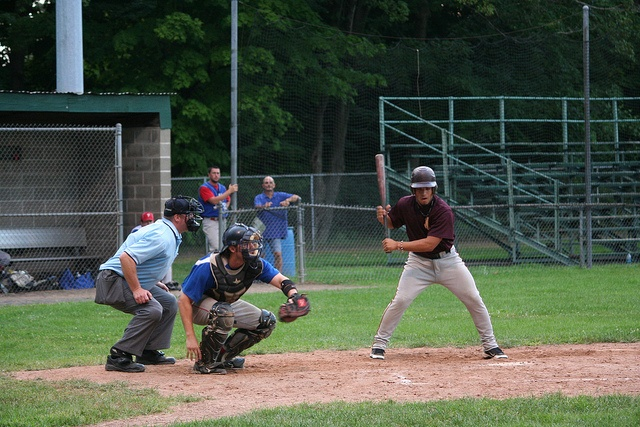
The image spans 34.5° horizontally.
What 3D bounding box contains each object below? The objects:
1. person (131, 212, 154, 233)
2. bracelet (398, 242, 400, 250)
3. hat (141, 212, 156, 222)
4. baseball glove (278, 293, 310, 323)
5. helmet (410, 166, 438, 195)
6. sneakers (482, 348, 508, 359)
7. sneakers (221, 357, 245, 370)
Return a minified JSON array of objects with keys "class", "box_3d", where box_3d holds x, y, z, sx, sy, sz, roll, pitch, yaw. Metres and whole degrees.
[{"class":"person","box_3d":[-4.094,0.189,23.487,0.491,0.396,0.761,3,1,-4]},{"class":"bracelet","box_3d":[1.583,0.660,20.928,0.060,0.148,0.119,-3,-5,-4]},{"class":"hat","box_3d":[-4.013,0.061,23.726,0.230,0.186,0.337,1,-6,-19]},{"class":"baseball glove","box_3d":[-0.547,1.847,20.153,0.689,0.462,0.378,-16,-15,-4]},{"class":"helmet","box_3d":[2.077,-0.732,20.948,0.378,0.407,0.496,0,1,2]},{"class":"sneakers","box_3d":[3.539,2.838,20.885,0.450,0.199,0.211,-5,-7,29]},{"class":"sneakers","box_3d":[-1.789,3.040,20.754,0.444,0.187,0.179,-7,-7,20]}]
